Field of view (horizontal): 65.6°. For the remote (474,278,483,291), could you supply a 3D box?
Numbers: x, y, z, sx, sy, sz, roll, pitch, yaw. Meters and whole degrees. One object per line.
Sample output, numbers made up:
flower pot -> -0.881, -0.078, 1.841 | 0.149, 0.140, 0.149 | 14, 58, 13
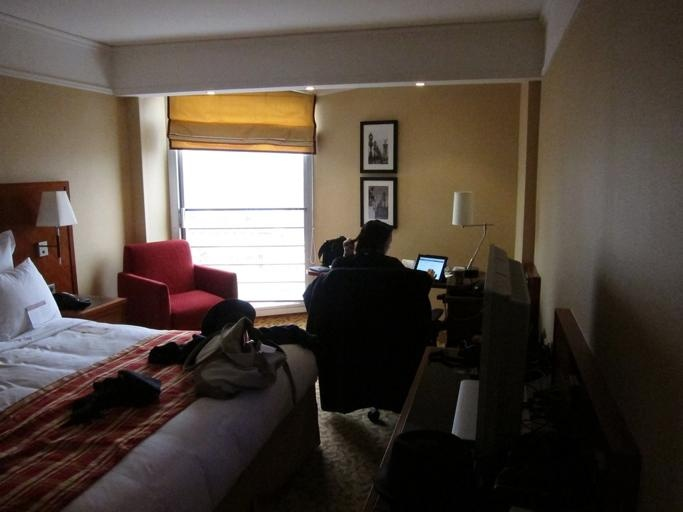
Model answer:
remote -> 1.029, 0.216, 4.009 | 0.055, 0.031, 0.100 | -4, 10, 19

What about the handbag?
handbag -> -0.505, 0.534, 2.597 | 0.376, 0.211, 0.499 | -1, 5, -6

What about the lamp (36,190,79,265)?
lamp -> -2.235, -0.209, 4.110 | 0.273, 0.597, 0.363 | -6, 10, -40

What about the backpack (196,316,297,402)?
backpack -> -0.433, 0.578, 2.659 | 0.317, 0.110, 0.262 | -15, 9, 7

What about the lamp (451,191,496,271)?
lamp -> 1.101, -0.197, 4.514 | 0.275, 0.667, 0.156 | 1, 7, -5

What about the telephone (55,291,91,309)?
telephone -> -1.999, 0.327, 3.932 | 0.231, 0.103, 0.136 | 6, 22, -2

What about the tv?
tv -> 0.577, 0.364, 2.113 | 0.237, 0.599, 0.680 | 4, 10, 16

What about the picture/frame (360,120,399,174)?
picture/frame -> 0.391, -1.139, 5.401 | 0.511, 0.715, 0.069 | 1, 4, 9
